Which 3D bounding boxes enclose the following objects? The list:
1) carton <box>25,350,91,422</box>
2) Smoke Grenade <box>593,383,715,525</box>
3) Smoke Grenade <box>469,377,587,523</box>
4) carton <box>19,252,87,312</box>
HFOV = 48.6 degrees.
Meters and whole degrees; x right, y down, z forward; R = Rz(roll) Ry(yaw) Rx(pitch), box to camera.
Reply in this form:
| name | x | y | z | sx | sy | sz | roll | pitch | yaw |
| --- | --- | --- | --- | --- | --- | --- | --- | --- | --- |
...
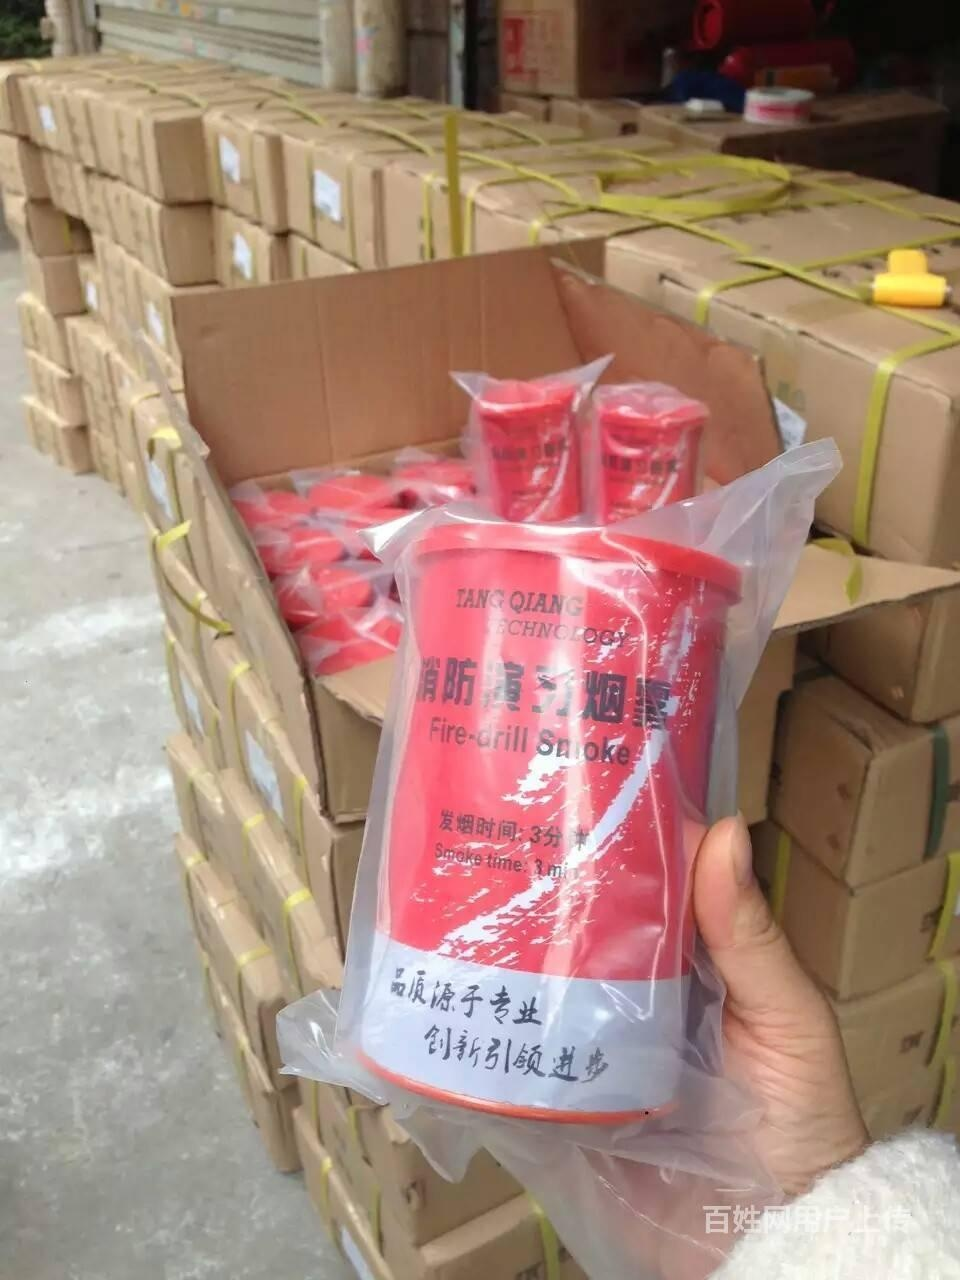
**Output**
| name | x | y | z | sx | sy | sz | roll | pitch | yaw |
| --- | --- | --- | --- | --- | --- | --- | --- | --- | --- |
| carton | -1.444 | -0.874 | 3.651 | 0.092 | 0.149 | 0.295 | -19 | 39 | -34 |
| Smoke Grenade | 0.123 | -0.128 | 0.787 | 0.080 | 0.096 | 0.061 | 5 | 25 | 15 |
| Smoke Grenade | 0.044 | -0.154 | 0.865 | 0.101 | 0.110 | 0.078 | 2 | 34 | 16 |
| carton | -1.468 | -1.212 | 3.610 | 0.116 | 0.199 | 0.336 | -25 | 37 | -35 |
